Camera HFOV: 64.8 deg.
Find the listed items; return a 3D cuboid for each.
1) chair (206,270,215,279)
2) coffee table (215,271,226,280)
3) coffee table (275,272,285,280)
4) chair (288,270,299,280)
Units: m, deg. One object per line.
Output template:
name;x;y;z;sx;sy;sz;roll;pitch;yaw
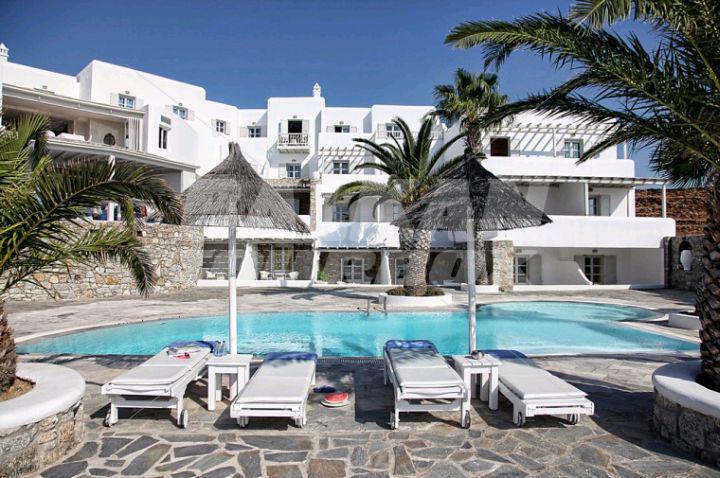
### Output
chair;-8.432;2.006;31.915;0.571;0.578;0.551;-3;-4;10
coffee table;-7.810;2.043;31.873;0.450;0.436;0.435;-2;1;9
coffee table;-4.585;2.085;32.536;0.495;0.430;0.467;0;-3;-8
chair;-3.831;2.074;32.549;0.475;0.413;0.486;-1;-20;-1
